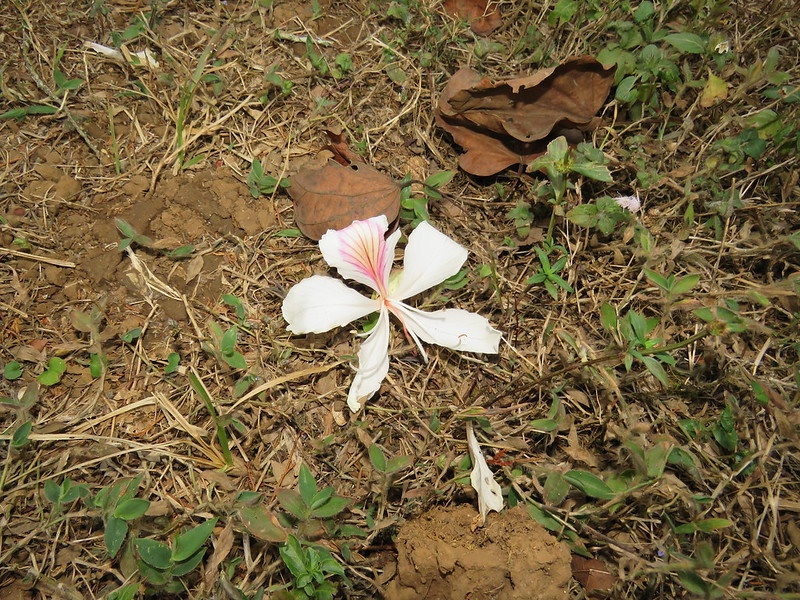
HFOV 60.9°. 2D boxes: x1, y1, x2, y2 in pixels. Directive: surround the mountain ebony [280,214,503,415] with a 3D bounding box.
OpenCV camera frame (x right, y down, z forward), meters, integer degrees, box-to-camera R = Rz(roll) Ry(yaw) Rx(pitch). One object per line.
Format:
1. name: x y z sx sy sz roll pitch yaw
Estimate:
1. mountain ebony: -0.060 0.010 2.977 0.845 0.325 0.737 -19 87 -1
